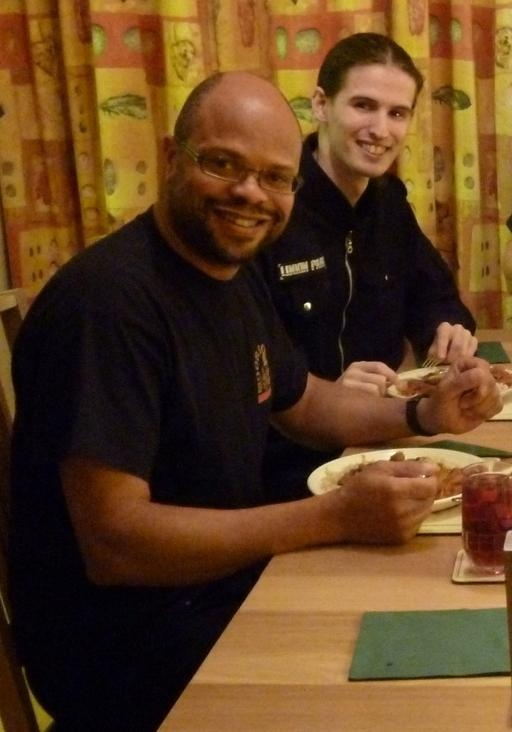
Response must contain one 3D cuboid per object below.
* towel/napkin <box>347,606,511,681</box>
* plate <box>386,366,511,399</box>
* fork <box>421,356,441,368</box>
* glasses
[{"bbox_3d":[0.153,0.236,0.550,0.131,0.015,0.143,-6,0,15],"label":"towel/napkin"},{"bbox_3d":[0.472,0.047,1.527,0.186,0.037,0.139,-9,11,16],"label":"plate"},{"bbox_3d":[0.499,-0.009,1.796,0.032,0.007,0.033,-47,14,-28],"label":"fork"},{"bbox_3d":[-0.018,-0.312,0.996,0.155,0.047,0.158,8,22,-11],"label":"glasses"}]
